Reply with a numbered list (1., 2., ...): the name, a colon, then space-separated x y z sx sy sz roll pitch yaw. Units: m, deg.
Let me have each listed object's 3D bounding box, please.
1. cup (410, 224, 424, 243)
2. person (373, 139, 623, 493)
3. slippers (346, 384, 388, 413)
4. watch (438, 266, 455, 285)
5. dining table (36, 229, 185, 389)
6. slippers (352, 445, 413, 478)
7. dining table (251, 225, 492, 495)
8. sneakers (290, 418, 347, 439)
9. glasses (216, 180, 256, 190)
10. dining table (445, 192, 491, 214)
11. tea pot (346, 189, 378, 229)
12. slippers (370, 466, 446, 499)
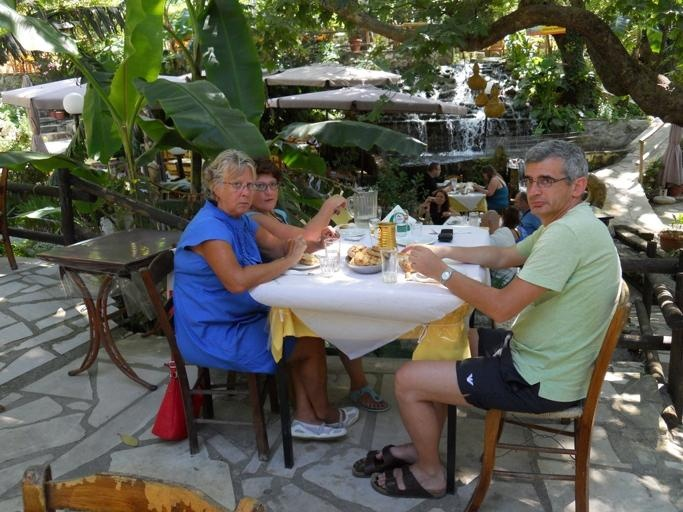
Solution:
1. cup: 0.534 -0.155 3.827 0.150 0.144 0.100 2 16 9
2. person: 0.882 0.377 3.017 1.252 1.987 0.613 0 13 14
3. slippers: 0.188 1.028 3.903 0.273 0.106 0.140 7 17 26
4. watch: 0.550 0.109 2.867 0.068 0.101 0.098 24 -15 29
5. dining table: -1.876 0.476 4.406 0.797 0.811 1.152 7 20 10
6. slippers: 0.286 1.244 3.249 0.420 0.123 0.152 1 20 9
7. dining table: 0.162 0.634 3.199 1.191 0.361 1.623 6 17 24
8. sneakers: -0.139 1.131 3.587 0.390 0.141 0.134 0 2 -1
9. glasses: -0.636 -0.434 3.329 0.202 0.054 0.052 -6 12 -22
10. dining table: 2.183 -0.922 9.175 0.686 0.282 0.649 1 15 11
11. tea pot: 0.173 -0.354 4.195 0.323 0.286 0.216 4 10 34
12. slippers: 0.401 1.297 3.096 0.391 0.110 0.171 3 13 6
